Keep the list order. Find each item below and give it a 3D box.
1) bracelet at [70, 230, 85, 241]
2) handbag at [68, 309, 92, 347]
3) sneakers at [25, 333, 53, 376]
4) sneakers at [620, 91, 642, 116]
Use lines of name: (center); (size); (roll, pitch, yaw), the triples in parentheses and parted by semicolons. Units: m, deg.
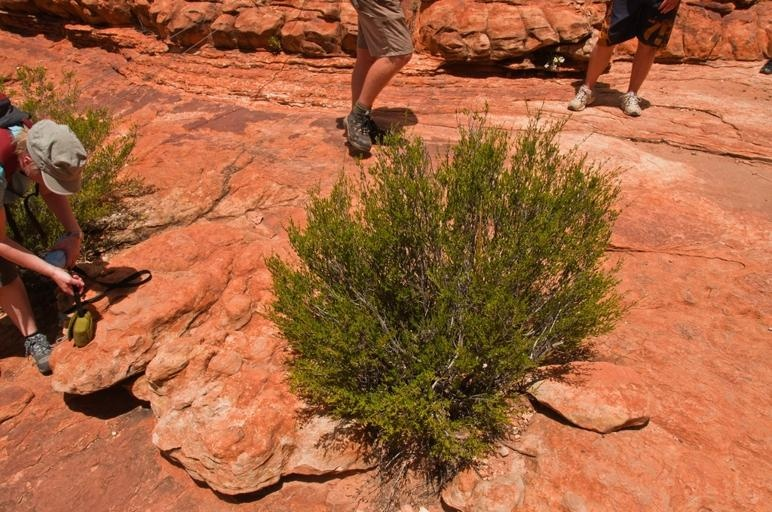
bracelet: (-2.677, -0.171, 4.653); (0.101, 0.034, 0.097); (-11, 31, -36)
handbag: (-2.497, 0.599, 4.398); (0.122, 0.210, 0.219); (-18, 30, 2)
sneakers: (-2.966, 0.846, 4.591); (0.328, 0.142, 0.142); (43, 55, 16)
sneakers: (2.933, -1.796, 6.435); (0.167, 0.155, 0.359); (3, 30, 14)
